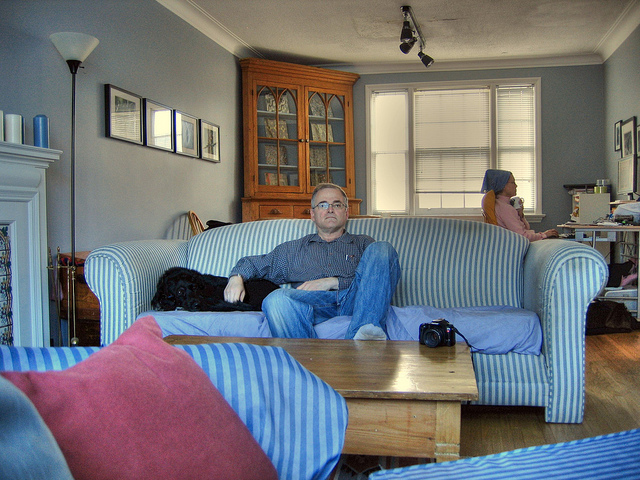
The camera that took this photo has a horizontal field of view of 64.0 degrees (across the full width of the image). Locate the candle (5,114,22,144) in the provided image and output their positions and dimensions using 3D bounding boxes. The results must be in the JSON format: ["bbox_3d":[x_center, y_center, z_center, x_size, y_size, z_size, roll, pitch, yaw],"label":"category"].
[{"bbox_3d":[-1.580,-0.577,2.647,0.076,0.154,0.085,-2,5,-28],"label":"candle"}]

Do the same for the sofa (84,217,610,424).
[{"bbox_3d":[0.125,0.320,2.407,2.141,0.879,0.733,0,0,1],"label":"sofa"}]

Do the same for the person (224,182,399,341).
[{"bbox_3d":[-0.096,0.098,2.680,0.724,0.608,1.028,-7,39,3],"label":"person"}]

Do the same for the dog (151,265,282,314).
[{"bbox_3d":[-0.520,0.280,2.423,0.379,0.145,0.277,11,-30,-8],"label":"dog"}]

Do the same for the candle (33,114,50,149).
[{"bbox_3d":[-1.547,-0.610,2.845,0.068,0.204,0.184,-2,5,-29],"label":"candle"}]

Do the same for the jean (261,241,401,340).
[{"bbox_3d":[0.058,0.288,2.187,0.462,0.547,0.460,-4,-26,5],"label":"jean"}]

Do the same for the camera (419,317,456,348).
[{"bbox_3d":[0.400,0.326,1.794,0.102,0.095,0.129,-9,7,-39],"label":"camera"}]

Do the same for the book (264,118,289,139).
[{"bbox_3d":[-0.492,-1.222,5.604,0.214,0.240,0.017,-3,8,-12],"label":"book"}]

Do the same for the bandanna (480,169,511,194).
[{"bbox_3d":[1.435,-0.485,4.207,0.206,0.179,0.159,-9,12,17],"label":"bandanna"}]
